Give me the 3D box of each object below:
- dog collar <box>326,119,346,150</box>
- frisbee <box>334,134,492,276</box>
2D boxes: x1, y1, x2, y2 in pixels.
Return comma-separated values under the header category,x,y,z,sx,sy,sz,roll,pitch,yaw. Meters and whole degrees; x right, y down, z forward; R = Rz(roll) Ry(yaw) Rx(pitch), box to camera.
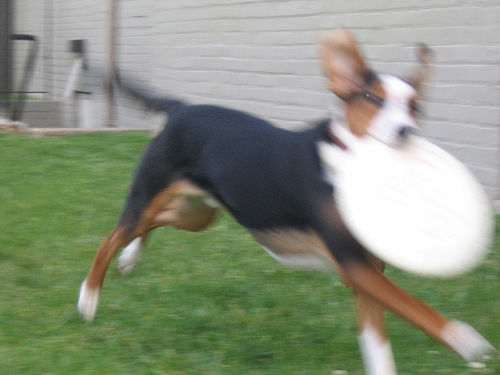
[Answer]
category,x,y,z,sx,sy,sz,roll,pitch,yaw
dog collar,0.357,-0.222,3.827,0.031,0.115,0.102,-37,58,7
frisbee,0.661,0.063,3.709,0.524,0.266,0.657,-25,57,-12
